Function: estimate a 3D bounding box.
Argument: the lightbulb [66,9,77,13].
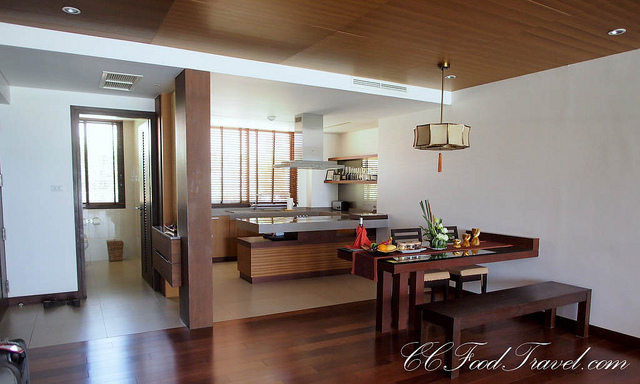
[{"bbox_3d":[-2.845,-2.089,4.828,0.102,0.024,0.052,0,13,-3],"label":"lightbulb"}]

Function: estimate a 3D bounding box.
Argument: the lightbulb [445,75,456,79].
[{"bbox_3d":[2.046,-1.799,6.544,0.171,0.048,0.185,2,12,7],"label":"lightbulb"}]

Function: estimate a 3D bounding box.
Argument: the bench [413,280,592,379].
[{"bbox_3d":[2.455,1.711,5.539,2.668,0.719,0.697,-4,15,-22],"label":"bench"}]

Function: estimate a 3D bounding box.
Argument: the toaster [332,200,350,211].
[{"bbox_3d":[0.508,0.340,10.233,0.241,0.237,0.424,4,-4,-31],"label":"toaster"}]

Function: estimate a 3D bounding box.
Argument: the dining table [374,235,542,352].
[{"bbox_3d":[1.797,1.315,6.732,3.475,1.299,1.359,1,7,-37],"label":"dining table"}]

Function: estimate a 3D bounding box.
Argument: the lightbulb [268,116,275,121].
[{"bbox_3d":[-1.017,-1.554,8.858,0.129,0.111,0.513,-1,12,-9],"label":"lightbulb"}]

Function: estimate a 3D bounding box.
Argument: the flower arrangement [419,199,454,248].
[{"bbox_3d":[1.695,0.509,6.118,0.495,0.665,0.508,1,1,-42],"label":"flower arrangement"}]
